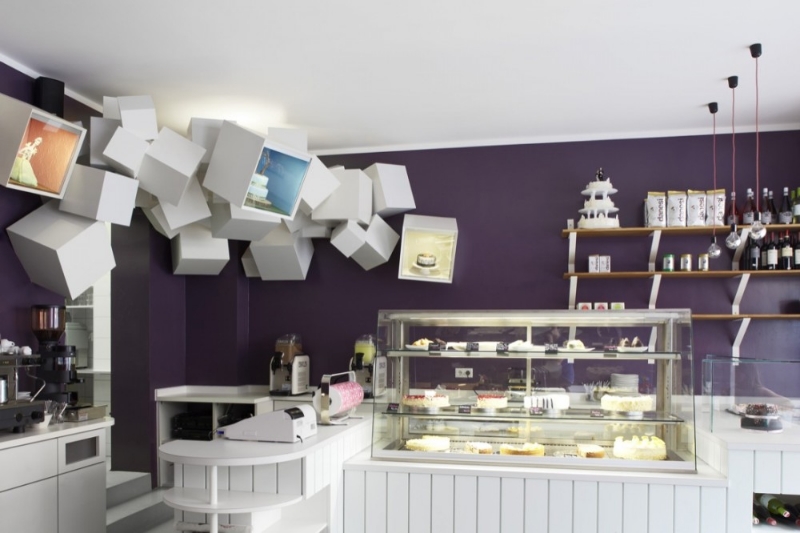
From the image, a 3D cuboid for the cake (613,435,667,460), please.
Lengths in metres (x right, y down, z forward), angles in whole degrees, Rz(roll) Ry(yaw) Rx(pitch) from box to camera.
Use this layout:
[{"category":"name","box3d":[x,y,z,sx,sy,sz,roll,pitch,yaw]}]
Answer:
[{"category":"cake","box3d":[1.864,1.401,5.183,0.234,0.109,0.240,1,-4,6]}]

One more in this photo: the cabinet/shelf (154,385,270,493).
[{"category":"cabinet/shelf","box3d":[-1.867,1.908,6.968,1.285,1.254,0.912,0,-7,-7]}]

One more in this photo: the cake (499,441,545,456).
[{"category":"cake","box3d":[0.970,1.447,5.268,0.350,0.096,0.066,-3,-4,12]}]

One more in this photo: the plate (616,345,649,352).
[{"category":"plate","box3d":[1.825,0.643,5.209,0.230,0.049,0.044,-3,-5,15]}]

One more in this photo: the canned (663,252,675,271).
[{"category":"canned","box3d":[2.586,-0.042,6.392,0.126,0.173,0.187,-3,-5,21]}]

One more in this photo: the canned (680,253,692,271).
[{"category":"canned","box3d":[2.748,-0.047,6.379,0.116,0.183,0.240,-3,-5,23]}]

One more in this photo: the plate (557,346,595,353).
[{"category":"plate","box3d":[1.401,0.655,5.253,0.255,0.037,0.044,-3,-5,17]}]

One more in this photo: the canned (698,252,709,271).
[{"category":"canned","box3d":[2.908,-0.047,6.355,0.099,0.184,0.272,-4,-5,26]}]

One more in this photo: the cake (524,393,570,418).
[{"category":"cake","box3d":[1.167,1.087,5.280,0.252,0.098,0.201,-2,-4,35]}]

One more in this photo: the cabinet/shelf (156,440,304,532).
[{"category":"cabinet/shelf","box3d":[-1.280,1.554,4.870,0.814,0.472,0.684,1,-1,10]}]

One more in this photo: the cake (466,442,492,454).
[{"category":"cake","box3d":[0.638,1.449,5.357,0.134,0.047,0.102,2,-2,21]}]
